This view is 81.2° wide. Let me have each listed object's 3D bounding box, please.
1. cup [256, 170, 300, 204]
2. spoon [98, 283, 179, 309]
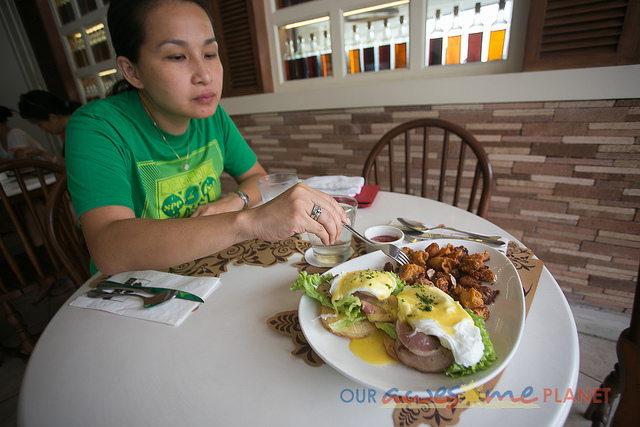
[{"bbox_3d":[-0.212,-0.146,1.775,0.169,0.137,0.186,-2,18,1],"label":"cup"},{"bbox_3d":[-0.679,0.288,1.342,0.288,0.046,0.108,6,9,-1],"label":"spoon"}]
